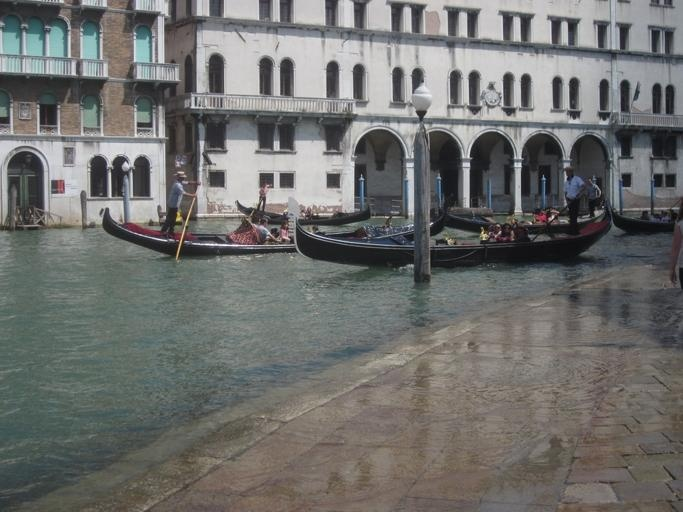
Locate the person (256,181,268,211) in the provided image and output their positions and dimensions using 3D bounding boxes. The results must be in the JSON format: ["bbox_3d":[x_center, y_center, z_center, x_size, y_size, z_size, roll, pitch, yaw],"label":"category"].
[{"bbox_3d":[-3.408,-2.566,40.919,0.544,0.483,1.501,-9,-20,-11],"label":"person"}]
